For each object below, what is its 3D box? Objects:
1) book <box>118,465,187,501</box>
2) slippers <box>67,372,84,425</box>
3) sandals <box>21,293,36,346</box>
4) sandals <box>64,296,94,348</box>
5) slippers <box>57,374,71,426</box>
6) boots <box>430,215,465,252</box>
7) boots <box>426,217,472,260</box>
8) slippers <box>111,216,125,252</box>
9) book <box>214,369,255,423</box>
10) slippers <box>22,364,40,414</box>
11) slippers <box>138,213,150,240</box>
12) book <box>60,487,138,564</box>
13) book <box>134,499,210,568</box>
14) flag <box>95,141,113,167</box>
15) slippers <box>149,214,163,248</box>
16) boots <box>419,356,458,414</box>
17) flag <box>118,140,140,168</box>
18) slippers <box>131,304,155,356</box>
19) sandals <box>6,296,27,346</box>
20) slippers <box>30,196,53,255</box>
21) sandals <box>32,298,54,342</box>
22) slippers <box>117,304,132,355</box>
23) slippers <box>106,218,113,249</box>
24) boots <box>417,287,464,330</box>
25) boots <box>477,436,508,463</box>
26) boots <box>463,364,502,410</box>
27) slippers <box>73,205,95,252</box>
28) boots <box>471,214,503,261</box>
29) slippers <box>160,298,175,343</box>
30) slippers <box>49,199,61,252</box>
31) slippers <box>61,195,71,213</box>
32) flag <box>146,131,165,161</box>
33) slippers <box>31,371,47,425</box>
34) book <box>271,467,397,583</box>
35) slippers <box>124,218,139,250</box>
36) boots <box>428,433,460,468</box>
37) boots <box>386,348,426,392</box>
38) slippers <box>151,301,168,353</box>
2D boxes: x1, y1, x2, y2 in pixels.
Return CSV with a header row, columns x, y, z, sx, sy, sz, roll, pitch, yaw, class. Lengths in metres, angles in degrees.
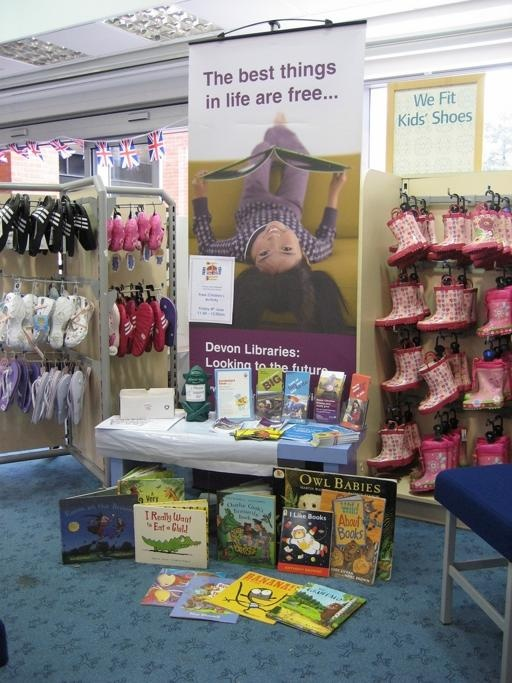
x,y,z,sx,sy,sz,roll,pitch,yaw,class
-0.464,0.651,2.509,0.191,0.073,0.190,2,2,15,book
-1.122,0.355,3.401,0.103,0.398,0.481,-1,3,-19,slippers
-1.300,-0.123,3.173,0.096,0.248,0.079,5,3,40,sandals
-0.994,-0.104,3.165,0.152,0.299,0.119,8,0,31,sandals
-1.160,0.342,3.257,0.097,0.305,0.113,4,4,-34,slippers
0.970,-0.545,2.747,0.156,0.192,0.119,1,3,22,boots
0.995,-0.532,2.748,0.132,0.182,0.252,-2,7,-14,boots
-0.772,-0.617,3.098,0.056,0.162,0.108,7,5,5,slippers
-0.108,0.261,2.622,0.263,0.325,0.036,-1,-3,-4,book
-1.372,0.290,3.332,0.113,0.295,0.082,2,-8,25,slippers
-0.651,-0.659,3.151,0.053,0.133,0.098,2,7,-12,slippers
-0.673,0.804,2.356,0.342,0.310,0.029,-1,20,-2,book
-0.350,0.807,2.297,0.311,0.254,0.066,1,5,18,book
-1.689,-2.072,6.074,0.152,0.263,0.151,-1,3,-15,flag
-0.588,-0.639,3.192,0.066,0.172,0.108,10,13,10,slippers
0.954,0.227,2.868,0.185,0.284,0.115,1,3,21,boots
-1.310,-1.936,5.596,0.177,0.280,0.291,0,3,-14,flag
-0.654,-0.065,3.204,0.137,0.291,0.099,14,6,30,slippers
-1.364,-0.113,3.089,0.079,0.222,0.215,-4,7,-36,sandals
-1.198,-0.624,3.131,0.138,0.376,0.114,15,12,35,slippers
-1.210,-0.127,3.179,0.104,0.271,0.111,5,-6,0,sandals
-0.756,-0.064,3.193,0.116,0.270,0.100,-3,8,-32,slippers
-0.834,-0.621,3.121,0.045,0.127,0.093,7,3,-4,slippers
0.947,-0.175,2.801,0.227,0.221,0.136,1,3,18,boots
1.205,0.540,2.770,0.128,0.120,0.129,0,2,23,boots
1.161,0.228,2.773,0.136,0.272,0.173,-3,4,-45,boots
-0.938,-0.626,3.037,0.133,0.232,0.088,6,20,40,slippers
1.084,-0.512,2.664,0.170,0.196,0.205,0,0,-6,boots
-0.505,-0.120,3.250,0.092,0.245,0.090,10,13,34,slippers
-1.145,-0.658,3.101,0.067,0.287,0.210,-1,3,-22,slippers
-1.087,-0.785,3.120,0.049,0.132,0.262,-1,3,-19,slippers
-1.008,-1.969,5.489,0.145,0.306,0.327,0,3,-11,flag
-1.295,0.330,3.307,0.106,0.289,0.097,6,-1,40,slippers
0.309,0.755,2.221,0.460,0.377,0.060,2,4,24,book
-0.717,-0.616,3.152,0.054,0.160,0.118,8,4,-3,slippers
1.020,0.547,2.943,0.160,0.218,0.182,3,7,27,boots
0.815,0.148,2.962,0.285,0.274,0.161,-2,3,19,boots
-0.566,-0.081,3.165,0.095,0.271,0.103,10,12,40,slippers
